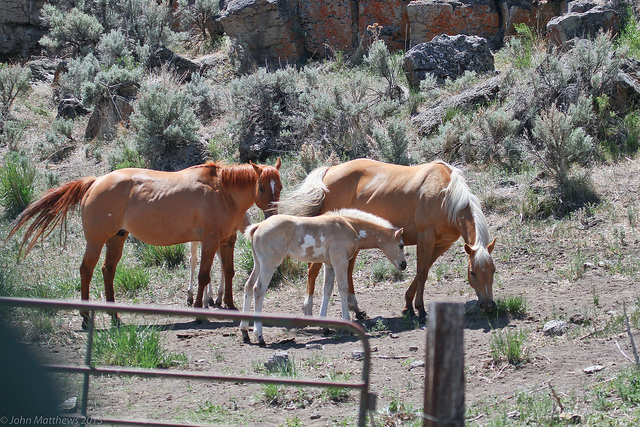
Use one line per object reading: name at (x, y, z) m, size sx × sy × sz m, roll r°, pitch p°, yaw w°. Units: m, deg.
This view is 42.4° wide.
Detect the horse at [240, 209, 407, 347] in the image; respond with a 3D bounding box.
horse at (-0.029, 1.153, 18.510) m, size 3.489 × 2.530 × 0.633 m, roll -3°, pitch 1°, yaw -13°
